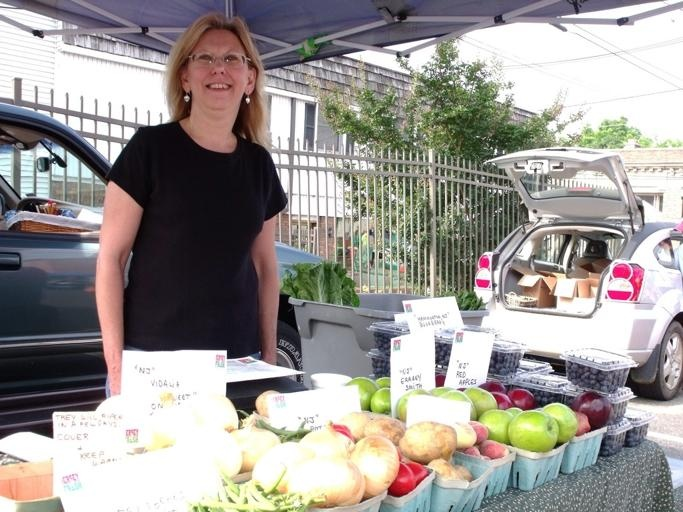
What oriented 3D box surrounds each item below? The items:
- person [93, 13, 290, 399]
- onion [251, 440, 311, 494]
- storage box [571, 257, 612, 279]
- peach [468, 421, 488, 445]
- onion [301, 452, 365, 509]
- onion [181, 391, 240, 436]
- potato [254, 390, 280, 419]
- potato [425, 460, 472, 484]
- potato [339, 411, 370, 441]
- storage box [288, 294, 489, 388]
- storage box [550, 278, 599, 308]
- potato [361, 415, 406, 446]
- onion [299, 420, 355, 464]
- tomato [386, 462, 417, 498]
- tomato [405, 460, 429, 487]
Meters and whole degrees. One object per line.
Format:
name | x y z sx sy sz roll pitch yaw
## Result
person | -0.613 -0.253 2.196 0.820 1.583 0.378 0 2 -27
onion | -0.145 0.496 1.223 0.088 0.070 0.114 -28 -3 24
storage box | 3.439 0.160 7.003 0.383 0.162 0.348 0 16 20
peach | 0.460 0.578 1.683 0.065 0.032 0.067 15 14 3
onion | -0.019 0.521 1.246 0.175 0.104 0.159 1 4 -8
onion | -0.355 0.442 1.411 0.121 0.095 0.118 3 10 -12
potato | -0.249 0.493 1.685 0.097 0.074 0.128 -2 -1 -2
potato | 0.317 0.619 1.452 0.092 0.035 0.095 13 -5 4
potato | 0.042 0.536 1.595 0.064 0.044 0.077 -2 6 5
storage box | 0.163 0.411 3.537 0.815 0.651 1.041 -1 3 -39
storage box | 2.966 0.474 6.371 0.429 0.333 0.399 1 0 -32
potato | 0.132 0.545 1.595 0.070 0.053 0.093 6 3 2
onion | -0.027 0.477 1.314 0.110 0.086 0.107 -3 8 -42
tomato | 0.151 0.595 1.325 0.073 0.079 0.073 -4 4 0
tomato | 0.213 0.587 1.366 0.041 0.033 0.055 3 26 -3
